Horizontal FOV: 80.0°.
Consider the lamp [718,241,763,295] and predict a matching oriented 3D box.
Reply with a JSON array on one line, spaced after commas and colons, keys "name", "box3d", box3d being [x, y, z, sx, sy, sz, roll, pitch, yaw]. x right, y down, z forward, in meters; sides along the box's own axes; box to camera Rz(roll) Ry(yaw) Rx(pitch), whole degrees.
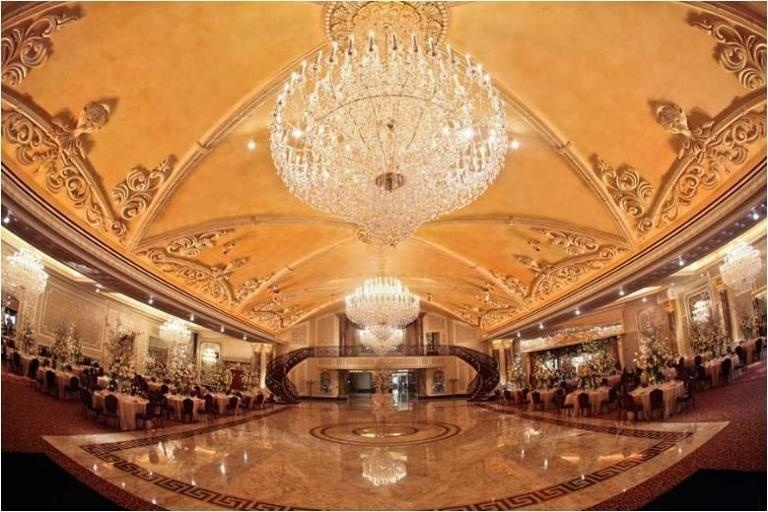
[{"name": "lamp", "box3d": [6.953, 0.187, 9.004, 0.563, 0.946, 0.818, -3, -8, 23]}]

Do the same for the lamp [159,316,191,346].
[{"name": "lamp", "box3d": [-7.192, 2.577, 15.821, 0.912, 0.784, 0.914, -2, -5, 2]}]

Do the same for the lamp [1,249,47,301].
[{"name": "lamp", "box3d": [-7.584, 0.360, 9.629, 0.764, 0.968, 0.349, 7, -10, -45]}]
